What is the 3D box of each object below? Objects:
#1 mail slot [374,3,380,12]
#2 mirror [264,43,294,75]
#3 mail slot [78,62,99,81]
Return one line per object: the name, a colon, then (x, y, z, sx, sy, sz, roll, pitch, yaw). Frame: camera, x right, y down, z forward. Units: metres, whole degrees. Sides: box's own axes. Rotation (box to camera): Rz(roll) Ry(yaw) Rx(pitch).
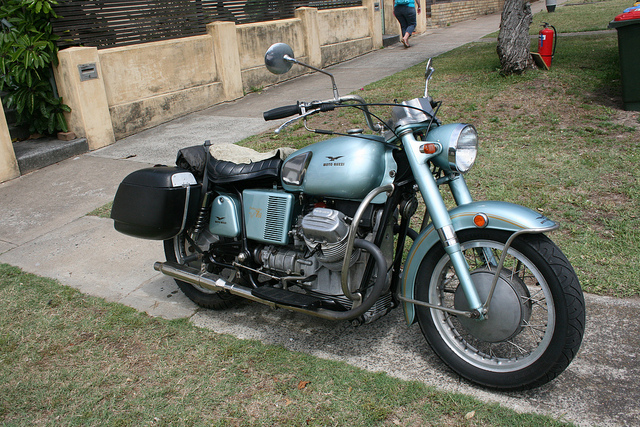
mail slot: (2.057, -7.315, 16.268, 0.102, 0.295, 0.456, 5, 26, 23)
mirror: (-0.303, -1.247, 3.688, 0.270, 0.270, 0.234, -17, 30, -31)
mail slot: (-4.450, -2.694, 8.682, 0.072, 0.295, 0.340, 13, 29, 30)
